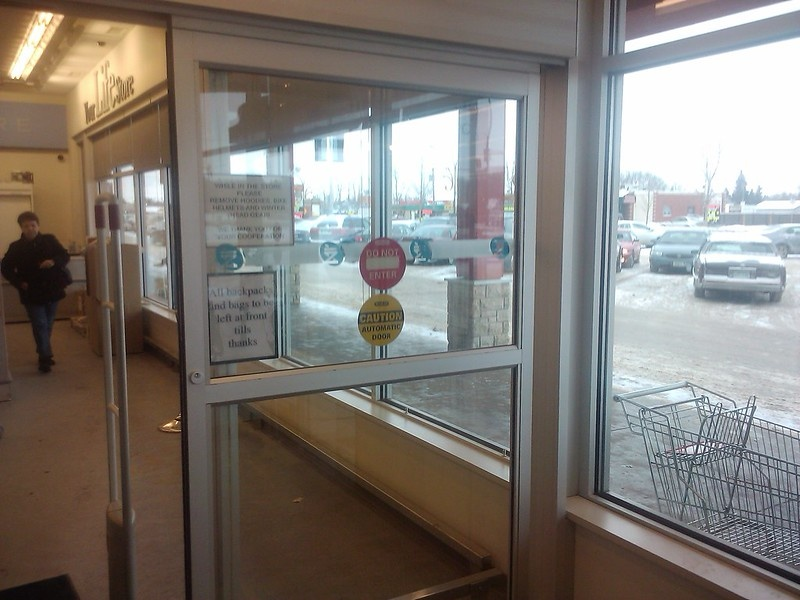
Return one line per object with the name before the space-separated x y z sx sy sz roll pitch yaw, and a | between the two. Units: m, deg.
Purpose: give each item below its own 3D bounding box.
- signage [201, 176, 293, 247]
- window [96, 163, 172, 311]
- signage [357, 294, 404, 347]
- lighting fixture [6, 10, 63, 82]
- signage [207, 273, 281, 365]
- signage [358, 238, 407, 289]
signage | -0.574 -0.334 2.315 0.242 0.210 0.010 -2 3 -26
window | -2.672 -0.630 6.530 0.144 2.168 1.754 -3 6 -43
signage | -0.074 0.084 2.599 0.198 0.240 0.023 -4 -21 11
lighting fixture | -4.556 -3.214 7.893 0.281 0.070 2.251 6 -6 -35
signage | -0.589 0.062 2.342 0.296 0.413 0.037 -3 6 -24
signage | -0.079 -0.157 2.568 0.187 0.222 0.027 -1 2 -32
